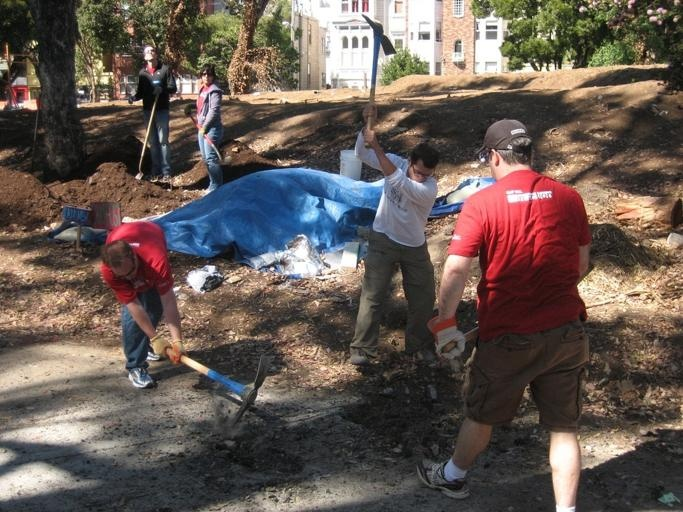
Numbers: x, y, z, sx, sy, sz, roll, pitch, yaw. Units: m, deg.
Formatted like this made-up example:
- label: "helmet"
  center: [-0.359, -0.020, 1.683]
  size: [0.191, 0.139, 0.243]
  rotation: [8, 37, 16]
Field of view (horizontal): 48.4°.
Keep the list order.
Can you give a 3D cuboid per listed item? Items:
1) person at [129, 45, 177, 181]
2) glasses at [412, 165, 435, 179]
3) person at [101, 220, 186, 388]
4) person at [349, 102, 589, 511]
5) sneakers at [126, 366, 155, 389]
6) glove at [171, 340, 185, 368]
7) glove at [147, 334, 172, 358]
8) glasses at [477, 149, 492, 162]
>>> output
- label: "person"
  center: [-3.020, -2.290, 12.339]
  size: [0.773, 2.220, 0.828]
  rotation: [-7, 15, -14]
- label: "glasses"
  center: [0.777, -0.803, 7.175]
  size: [0.158, 0.088, 0.174]
  rotation: [2, 12, -9]
- label: "person"
  center: [-1.820, 0.493, 6.969]
  size: [0.616, 1.586, 0.807]
  rotation: [-6, 15, -13]
- label: "person"
  center: [1.246, 0.618, 5.571]
  size: [1.124, 2.469, 0.848]
  rotation: [1, 16, 15]
- label: "sneakers"
  center: [-1.896, 1.164, 7.231]
  size: [0.324, 0.110, 0.138]
  rotation: [9, 9, 42]
- label: "glove"
  center: [-1.475, 0.863, 6.817]
  size: [0.123, 0.256, 0.191]
  rotation: [-6, 14, -12]
- label: "glove"
  center: [-1.684, 0.802, 6.860]
  size: [0.288, 0.100, 0.196]
  rotation: [22, 15, 13]
- label: "glasses"
  center: [1.093, -0.770, 5.714]
  size: [0.096, 0.088, 0.105]
  rotation: [4, 20, 3]
